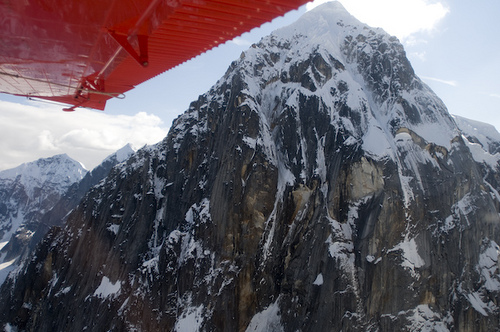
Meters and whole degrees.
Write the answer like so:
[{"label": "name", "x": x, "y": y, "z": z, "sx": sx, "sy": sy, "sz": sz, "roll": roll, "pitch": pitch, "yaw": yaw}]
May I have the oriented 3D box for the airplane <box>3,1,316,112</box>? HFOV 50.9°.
[{"label": "airplane", "x": -22.139, "y": -20.398, "z": 88.213, "sx": 40.033, "sy": 19.671, "sz": 10.140, "roll": 7, "pitch": -15, "yaw": 9}]
